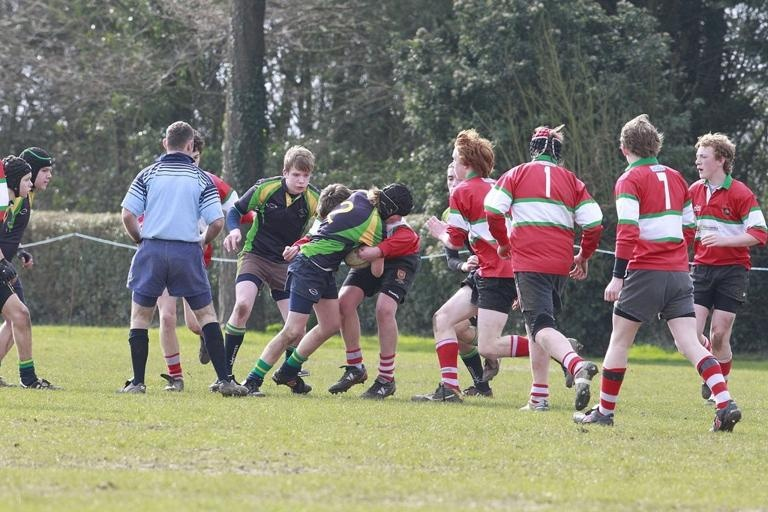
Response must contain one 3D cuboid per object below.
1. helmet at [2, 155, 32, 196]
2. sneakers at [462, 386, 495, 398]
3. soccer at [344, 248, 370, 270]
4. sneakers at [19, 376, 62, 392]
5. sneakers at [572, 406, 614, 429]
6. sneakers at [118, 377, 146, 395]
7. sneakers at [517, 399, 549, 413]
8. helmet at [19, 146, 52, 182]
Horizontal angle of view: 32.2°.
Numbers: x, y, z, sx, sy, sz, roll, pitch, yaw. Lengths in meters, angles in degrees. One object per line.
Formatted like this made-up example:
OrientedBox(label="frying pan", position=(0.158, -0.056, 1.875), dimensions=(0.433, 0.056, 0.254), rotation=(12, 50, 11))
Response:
OrientedBox(label="helmet", position=(-5.961, -1.358, 21.811), dimensions=(0.587, 0.638, 0.477), rotation=(3, 4, -17))
OrientedBox(label="sneakers", position=(1.570, 2.257, 22.170), dimensions=(0.501, 0.222, 0.196), rotation=(2, -2, 8))
OrientedBox(label="soccer", position=(-0.436, 0.053, 21.451), dimensions=(0.325, 0.297, 0.133), rotation=(-2, 38, 6))
OrientedBox(label="sneakers", position=(-5.530, 2.062, 21.286), dimensions=(0.476, 0.164, 0.265), rotation=(-1, -4, 2))
OrientedBox(label="sneakers", position=(3.243, 2.486, 20.442), dimensions=(0.668, 0.300, 0.263), rotation=(4, -14, 18))
OrientedBox(label="sneakers", position=(-4.076, 2.095, 21.183), dimensions=(0.508, 0.257, 0.190), rotation=(-1, -3, 36))
OrientedBox(label="sneakers", position=(2.381, 2.383, 21.066), dimensions=(0.181, 0.216, 0.486), rotation=(3, -2, -33))
OrientedBox(label="helmet", position=(-5.785, -1.558, 22.053), dimensions=(0.545, 0.548, 0.484), rotation=(-9, 12, -18))
